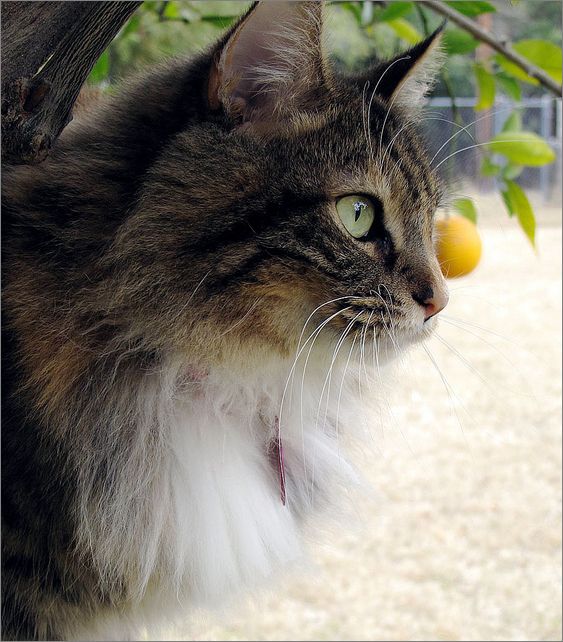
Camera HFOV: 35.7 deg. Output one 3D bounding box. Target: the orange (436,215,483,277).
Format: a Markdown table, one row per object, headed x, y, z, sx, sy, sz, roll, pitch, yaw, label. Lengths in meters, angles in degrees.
| x | y | z | sx | sy | sz | roll | pitch | yaw | label |
| --- | --- | --- | --- | --- | --- | --- | --- | --- | --- |
| 0.320 | -0.135 | 1.537 | 0.106 | 0.102 | 0.096 | -10 | 0 | 20 | orange |
